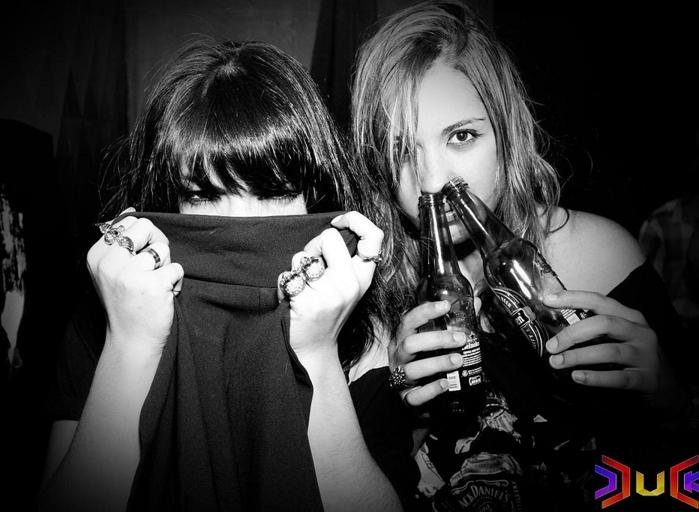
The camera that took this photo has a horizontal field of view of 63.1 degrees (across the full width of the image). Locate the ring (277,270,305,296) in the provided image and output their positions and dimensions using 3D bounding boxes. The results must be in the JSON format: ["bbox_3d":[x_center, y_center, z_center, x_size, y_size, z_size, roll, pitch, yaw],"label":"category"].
[{"bbox_3d":[-0.166,0.079,1.598,0.065,0.072,0.018,-3,-8,0],"label":"ring"}]

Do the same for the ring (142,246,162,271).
[{"bbox_3d":[-0.554,0.002,1.618,0.037,0.058,0.055,-16,25,-29],"label":"ring"}]

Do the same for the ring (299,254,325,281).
[{"bbox_3d":[-0.108,0.036,1.613,0.051,0.075,0.032,-21,-16,2],"label":"ring"}]
